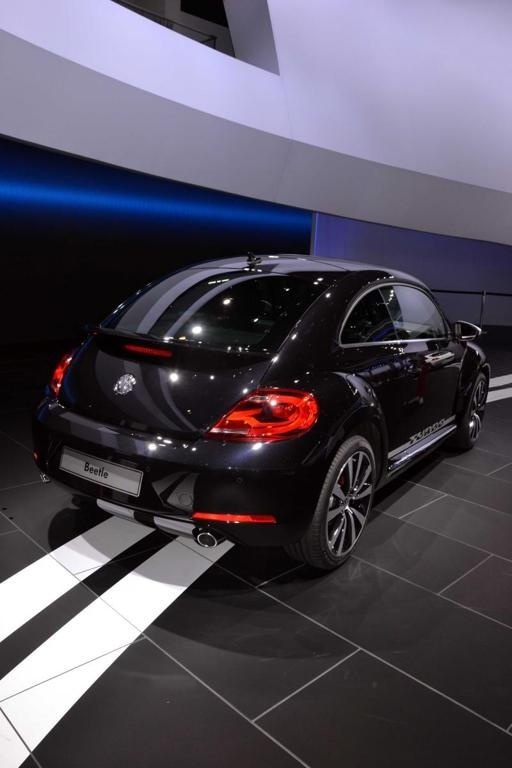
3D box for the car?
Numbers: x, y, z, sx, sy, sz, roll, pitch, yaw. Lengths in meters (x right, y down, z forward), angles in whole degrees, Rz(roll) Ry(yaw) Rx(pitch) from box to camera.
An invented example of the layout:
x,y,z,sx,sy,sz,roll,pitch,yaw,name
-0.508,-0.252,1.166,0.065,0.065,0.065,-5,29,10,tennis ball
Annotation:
x,y,z,sx,sy,sz,roll,pitch,yaw,name
0.236,-0.080,2.566,1.211,0.896,2.245,12,23,32,car
